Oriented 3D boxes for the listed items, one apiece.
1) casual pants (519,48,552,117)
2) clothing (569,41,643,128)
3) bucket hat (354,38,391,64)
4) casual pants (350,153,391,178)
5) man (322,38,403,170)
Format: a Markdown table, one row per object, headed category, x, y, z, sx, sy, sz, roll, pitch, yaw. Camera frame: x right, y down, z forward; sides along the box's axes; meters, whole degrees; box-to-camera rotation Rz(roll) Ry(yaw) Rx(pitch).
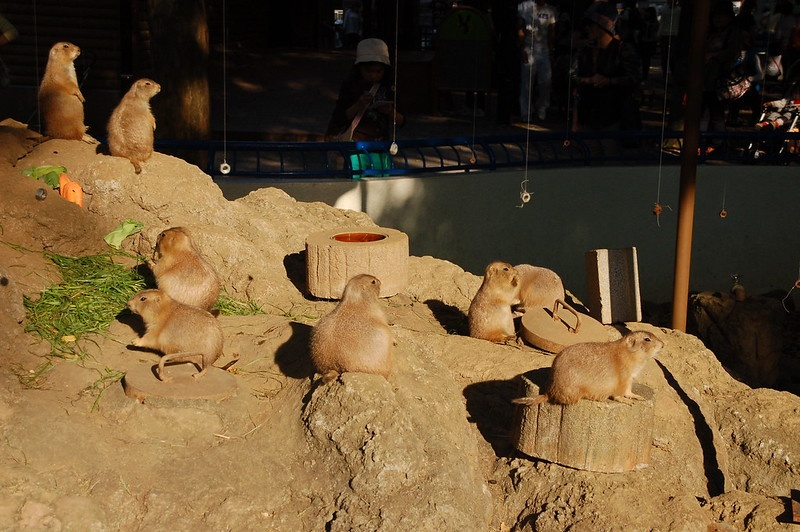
| category | x | y | z | sx | sy | sz | roll | pitch | yaw |
| --- | --- | --- | --- | --- | --- | --- | --- | --- | --- |
| casual pants | 2.642 | -3.559 | 17.642 | 0.584 | 1.469 | 0.502 | 1 | -13 | 7 |
| clothing | 3.463 | -3.027 | 15.286 | 1.242 | 1.474 | 0.886 | 7 | 27 | 34 |
| bucket hat | -0.346 | -2.890 | 12.175 | 0.439 | 0.339 | 0.287 | 2 | 11 | -14 |
| casual pants | -0.449 | -1.482 | 13.118 | 0.458 | 0.373 | 0.378 | -2 | 44 | -6 |
| man | -0.454 | -2.381 | 12.414 | 1.020 | 1.425 | 0.656 | 6 | 11 | 6 |
